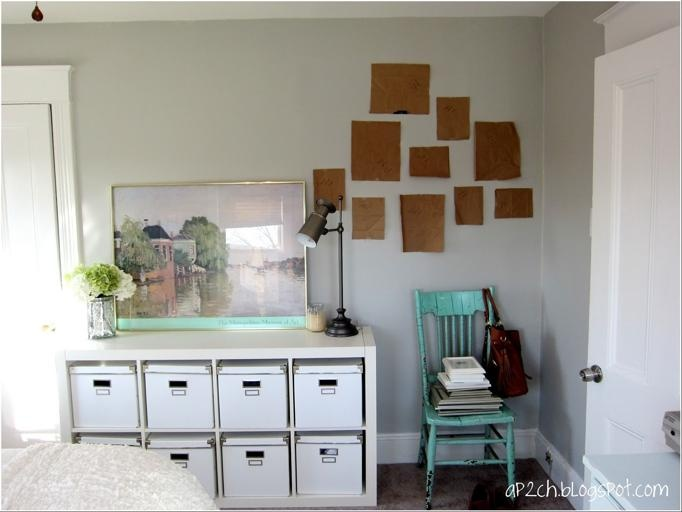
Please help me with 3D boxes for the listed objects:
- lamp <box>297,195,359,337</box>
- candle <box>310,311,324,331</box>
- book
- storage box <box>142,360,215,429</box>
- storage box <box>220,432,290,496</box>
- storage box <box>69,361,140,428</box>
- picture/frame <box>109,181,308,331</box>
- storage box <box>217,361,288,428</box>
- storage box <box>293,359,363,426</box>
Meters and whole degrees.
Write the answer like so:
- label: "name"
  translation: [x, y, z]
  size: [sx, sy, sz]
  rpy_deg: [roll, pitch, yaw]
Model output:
- label: "lamp"
  translation: [-0.081, 0.064, 3.325]
  size: [0.316, 0.845, 0.366]
  rpy_deg: [-4, 3, 1]
- label: "candle"
  translation: [-0.152, 0.406, 3.442]
  size: [0.102, 0.110, 0.102]
  rpy_deg: [0, -3, -4]
- label: "book"
  translation: [0.737, 0.759, 3.263]
  size: [0.421, 0.290, 0.288]
  rpy_deg: [-4, 3, 6]
- label: "storage box"
  translation: [-0.905, 0.781, 3.305]
  size: [0.467, 0.449, 0.360]
  rpy_deg: [-1, -1, -4]
- label: "storage box"
  translation: [-0.478, 1.209, 3.233]
  size: [0.443, 0.392, 0.333]
  rpy_deg: [0, -4, -2]
- label: "storage box"
  translation: [-1.335, 0.780, 3.322]
  size: [0.463, 0.442, 0.347]
  rpy_deg: [-1, -1, -4]
- label: "picture/frame"
  translation: [-0.787, -0.030, 3.454]
  size: [0.935, 0.684, 0.033]
  rpy_deg: [-1, 0, -2]
- label: "storage box"
  translation: [-0.502, 0.788, 3.336]
  size: [0.446, 0.424, 0.350]
  rpy_deg: [-1, -2, -3]
- label: "storage box"
  translation: [-0.073, 0.787, 3.351]
  size: [0.387, 0.367, 0.370]
  rpy_deg: [0, -2, -1]
